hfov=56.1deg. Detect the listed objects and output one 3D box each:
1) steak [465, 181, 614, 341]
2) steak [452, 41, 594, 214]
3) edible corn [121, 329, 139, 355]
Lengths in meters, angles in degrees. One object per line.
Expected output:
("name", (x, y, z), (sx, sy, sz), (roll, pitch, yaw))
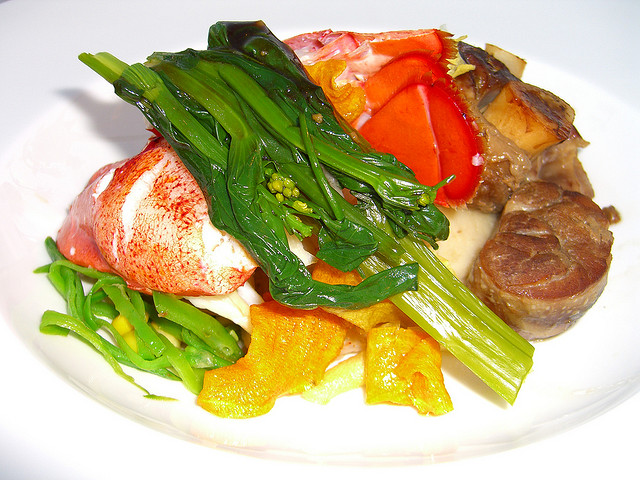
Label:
("steak", (0.788, 0.031, 2.136), (0.424, 0.551, 0.483), (-8, -64, -23))
("steak", (0.653, -0.313, 2.362), (0.691, 0.671, 0.243), (4, -52, 19))
("edible corn", (-0.632, 0.337, 2.017), (0.035, 0.067, 0.056), (-35, -21, 18))
